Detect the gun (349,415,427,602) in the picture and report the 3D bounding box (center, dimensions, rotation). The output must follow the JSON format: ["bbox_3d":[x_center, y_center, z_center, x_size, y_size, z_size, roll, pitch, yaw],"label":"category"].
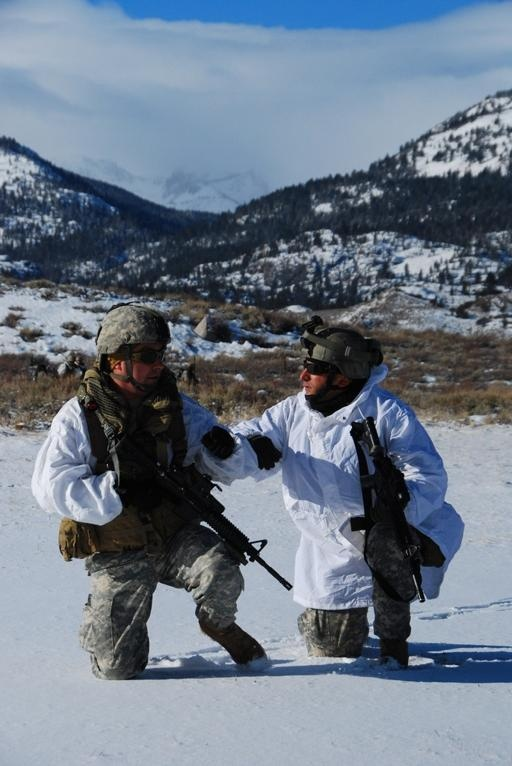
[{"bbox_3d":[0.692,0.651,5.246,0.249,0.915,0.383,-15,-1,-13],"label":"gun"}]

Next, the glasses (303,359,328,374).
[{"bbox_3d":[0.328,-0.089,5.535,0.102,0.033,0.086,14,5,-27],"label":"glasses"}]

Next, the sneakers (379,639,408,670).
[{"bbox_3d":[0.685,1.363,5.127,0.139,0.149,0.117,3,6,15],"label":"sneakers"}]

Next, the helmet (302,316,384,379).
[{"bbox_3d":[0.460,-0.193,5.613,0.464,0.292,0.330,10,0,-18],"label":"helmet"}]

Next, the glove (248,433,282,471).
[{"bbox_3d":[0.052,0.369,5.525,0.152,0.185,0.055,-27,-21,-29],"label":"glove"}]

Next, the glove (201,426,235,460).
[{"bbox_3d":[-0.189,0.308,5.352,0.160,0.169,0.067,-43,2,0],"label":"glove"}]

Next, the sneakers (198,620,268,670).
[{"bbox_3d":[-0.113,1.300,5.197,0.332,0.267,0.199,-3,8,-5],"label":"sneakers"}]

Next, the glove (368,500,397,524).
[{"bbox_3d":[0.644,0.662,5.204,0.116,0.085,0.038,11,-27,13],"label":"glove"}]

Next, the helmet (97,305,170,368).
[{"bbox_3d":[-0.643,-0.255,5.439,0.409,0.363,0.360,-2,0,34],"label":"helmet"}]

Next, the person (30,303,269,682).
[{"bbox_3d":[-0.602,0.535,5.144,0.835,1.815,0.839,-8,10,-35],"label":"person"}]
